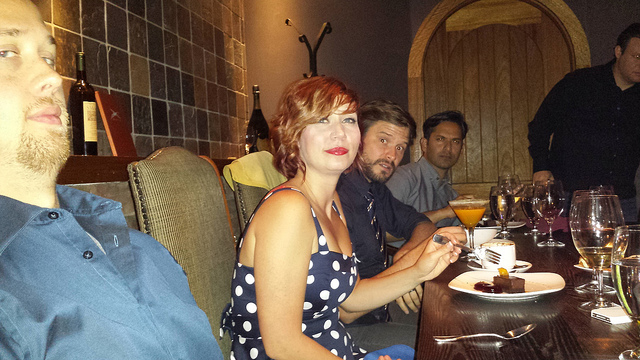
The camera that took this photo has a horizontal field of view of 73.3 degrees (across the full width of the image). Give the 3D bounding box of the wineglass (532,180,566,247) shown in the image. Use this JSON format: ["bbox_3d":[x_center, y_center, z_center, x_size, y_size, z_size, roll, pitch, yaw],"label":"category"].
[{"bbox_3d":[1.247,0.183,2.324,0.153,0.322,0.144,2,-6,-7],"label":"wineglass"}]

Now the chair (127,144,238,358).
[{"bbox_3d":[-0.493,0.300,1.755,0.301,0.844,0.447,5,12,23],"label":"chair"}]

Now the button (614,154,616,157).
[{"bbox_3d":[2.355,-0.188,3.422,0.014,0.018,0.006,0,1,7],"label":"button"}]

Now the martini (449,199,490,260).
[{"bbox_3d":[0.821,0.275,2.345,0.243,0.281,0.230,1,-12,-15],"label":"martini"}]

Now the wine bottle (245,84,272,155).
[{"bbox_3d":[-0.427,-0.386,3.053,0.163,0.515,0.167,2,-2,0],"label":"wine bottle"}]

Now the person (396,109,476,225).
[{"bbox_3d":[0.945,-0.047,3.438,0.682,0.987,0.597,5,4,1],"label":"person"}]

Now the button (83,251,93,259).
[{"bbox_3d":[-0.704,0.228,1.300,0.026,0.022,0.008,0,11,-4],"label":"button"}]

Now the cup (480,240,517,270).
[{"bbox_3d":[0.748,0.312,1.802,0.126,0.088,0.125,-2,-3,0],"label":"cup"}]

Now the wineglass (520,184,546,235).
[{"bbox_3d":[1.253,0.169,2.533,0.117,0.328,0.117,2,2,6],"label":"wineglass"}]

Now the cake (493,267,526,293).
[{"bbox_3d":[0.723,0.379,1.637,0.067,0.080,0.123,1,-8,-9],"label":"cake"}]

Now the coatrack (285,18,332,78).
[{"bbox_3d":[-0.098,-1.024,3.319,0.318,0.497,0.775,0,10,-4],"label":"coatrack"}]

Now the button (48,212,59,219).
[{"bbox_3d":[-0.800,0.108,1.288,0.028,0.018,0.011,-3,12,-20],"label":"button"}]
